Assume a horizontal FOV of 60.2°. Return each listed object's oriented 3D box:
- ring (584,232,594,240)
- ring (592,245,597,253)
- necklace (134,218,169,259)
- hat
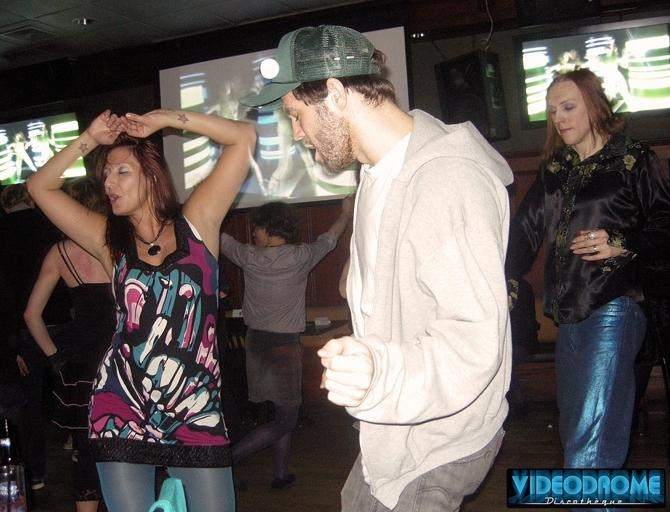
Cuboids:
[{"bbox_3d":[1.081,-0.088,2.462,0.033,0.024,0.014,3,-2,26],"label":"ring"},{"bbox_3d":[1.099,-0.030,2.454,0.021,0.021,0.005,10,-13,14],"label":"ring"},{"bbox_3d":[-0.759,-0.071,2.399,0.144,0.143,0.028,-15,-28,-1],"label":"necklace"},{"bbox_3d":[-0.070,-0.623,1.895,0.352,0.171,0.225,1,15,7],"label":"hat"}]
